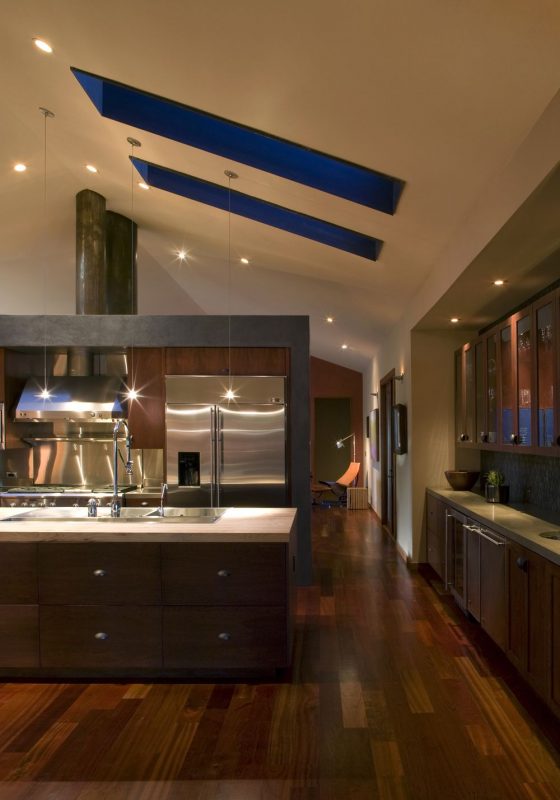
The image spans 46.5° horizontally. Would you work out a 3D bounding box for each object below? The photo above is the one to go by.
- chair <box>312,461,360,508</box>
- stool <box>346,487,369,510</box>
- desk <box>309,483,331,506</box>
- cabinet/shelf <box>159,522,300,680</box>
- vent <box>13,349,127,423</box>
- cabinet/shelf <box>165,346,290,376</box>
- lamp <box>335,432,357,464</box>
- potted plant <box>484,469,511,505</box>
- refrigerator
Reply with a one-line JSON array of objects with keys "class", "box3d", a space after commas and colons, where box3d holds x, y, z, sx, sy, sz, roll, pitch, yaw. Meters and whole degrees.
[{"class": "chair", "box3d": [0.934, 1.360, 10.693, 0.728, 0.826, 0.670, 0, -4, -5]}, {"class": "stool", "box3d": [1.220, 1.531, 10.148, 0.276, 0.317, 0.301, 0, -5, -2]}, {"class": "desk", "box3d": [0.691, 1.537, 10.893, 0.297, 0.370, 1.799, 0, -2, 4]}, {"class": "cabinet/shelf", "box3d": [-0.236, 0.910, 3.037, 0.526, 0.580, 0.584, -1, -11, 3]}, {"class": "vent", "box3d": [-1.746, -0.151, 5.605, 0.908, 0.717, 0.513, 0, -7, 3]}, {"class": "cabinet/shelf", "box3d": [-0.410, -0.301, 5.071, 0.938, 0.191, 0.093, 0, -1, -4]}, {"class": "lamp", "box3d": [1.226, 0.877, 12.122, 0.393, 0.549, 0.576, 0, -2, 5]}, {"class": "potted plant", "box3d": [1.474, 0.597, 4.486, 0.186, 0.299, 0.186, 0, -4, 1]}, {"class": "refrigerator", "box3d": [-0.372, 0.305, 5.033, 0.851, 1.485, 0.517, 0, -3, 1]}]
